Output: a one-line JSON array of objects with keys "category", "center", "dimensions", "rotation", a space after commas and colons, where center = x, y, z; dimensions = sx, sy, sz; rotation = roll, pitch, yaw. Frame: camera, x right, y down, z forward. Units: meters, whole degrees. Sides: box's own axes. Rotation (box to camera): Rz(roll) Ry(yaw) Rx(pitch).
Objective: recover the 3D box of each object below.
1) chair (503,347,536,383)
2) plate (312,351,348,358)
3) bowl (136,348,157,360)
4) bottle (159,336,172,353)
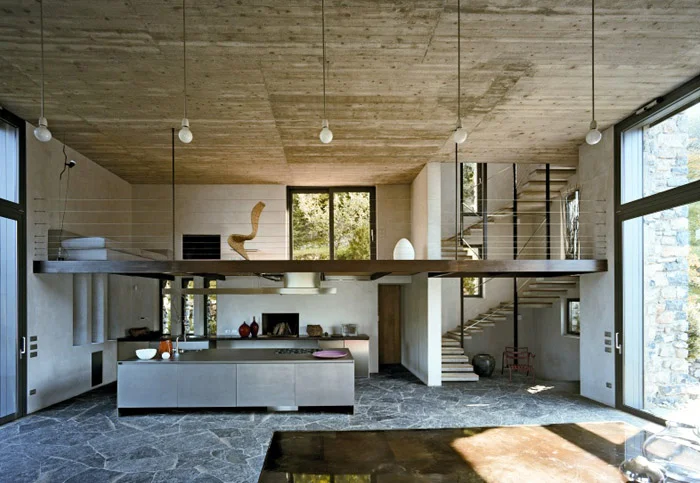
[{"category": "chair", "center": [3.974, 2.859, 14.240], "dimensions": [0.766, 0.864, 0.684], "rotation": [-1, -17, 6]}, {"category": "plate", "center": [-0.375, 2.030, 10.859], "dimensions": [0.604, 0.051, 0.518], "rotation": [0, 2, -2]}, {"category": "bowl", "center": [-3.618, 2.009, 10.830], "dimensions": [0.295, 0.135, 0.287], "rotation": [-1, -11, 0]}, {"category": "bottle", "center": [-3.470, 1.939, 11.296], "dimensions": [0.321, 0.340, 0.312], "rotation": [2, -3, -10]}]
